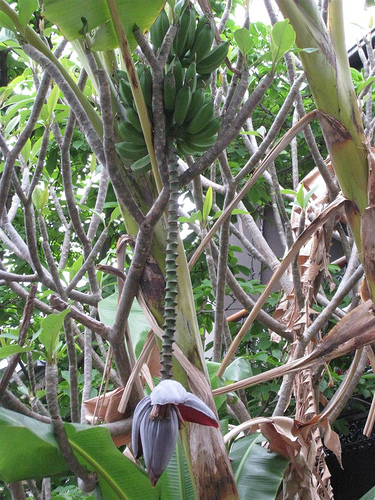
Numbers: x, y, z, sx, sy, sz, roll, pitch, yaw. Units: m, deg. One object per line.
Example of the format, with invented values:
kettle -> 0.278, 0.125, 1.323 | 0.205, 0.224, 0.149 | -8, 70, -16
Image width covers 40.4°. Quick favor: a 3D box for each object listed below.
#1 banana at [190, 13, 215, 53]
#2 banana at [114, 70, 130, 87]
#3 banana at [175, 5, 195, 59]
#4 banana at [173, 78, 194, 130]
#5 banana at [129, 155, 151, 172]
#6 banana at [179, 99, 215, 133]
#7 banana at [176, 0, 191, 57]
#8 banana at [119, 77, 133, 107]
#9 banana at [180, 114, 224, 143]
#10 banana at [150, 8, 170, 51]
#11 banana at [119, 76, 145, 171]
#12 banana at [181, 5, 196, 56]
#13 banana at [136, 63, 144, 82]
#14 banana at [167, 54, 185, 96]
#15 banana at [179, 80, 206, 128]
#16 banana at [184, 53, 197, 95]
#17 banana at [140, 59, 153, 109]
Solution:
banana -> 0.025, -0.332, 0.796 | 0.021, 0.067, 0.025 | 8, 7, -44
banana -> -0.101, -0.262, 0.772 | 0.014, 0.039, 0.016 | -16, -50, -9
banana -> -0.002, -0.324, 0.768 | 0.024, 0.081, 0.034 | 4, 19, -5
banana -> -0.007, -0.200, 0.694 | 0.018, 0.064, 0.027 | 13, 16, 1
banana -> -0.070, -0.126, 0.754 | 0.013, 0.016, 0.040 | 39, -19, -9
banana -> 0.016, -0.191, 0.741 | 0.024, 0.031, 0.083 | 14, -16, -23
banana -> -0.006, -0.332, 0.762 | 0.022, 0.082, 0.034 | 4, 6, -14
banana -> -0.089, -0.230, 0.742 | 0.019, 0.047, 0.016 | 3, 15, 38
banana -> 0.020, -0.177, 0.738 | 0.060, 0.024, 0.016 | -33, -44, 33
banana -> -0.040, -0.356, 0.797 | 0.027, 0.029, 0.075 | -4, -6, -5
banana -> -0.083, -0.182, 0.765 | 0.034, 0.150, 0.056 | -3, 26, 7
banana -> 0.000, -0.334, 0.762 | 0.017, 0.061, 0.025 | -5, 26, -21
banana -> -0.068, -0.262, 0.759 | 0.013, 0.031, 0.010 | 10, -13, -35
banana -> -0.013, -0.253, 0.725 | 0.020, 0.058, 0.026 | -2, 10, 24
banana -> 0.011, -0.206, 0.722 | 0.022, 0.073, 0.030 | 20, 8, -19
banana -> 0.007, -0.252, 0.724 | 0.014, 0.053, 0.026 | 5, -2, 3
banana -> -0.050, -0.235, 0.716 | 0.018, 0.062, 0.023 | -3, 7, 11
